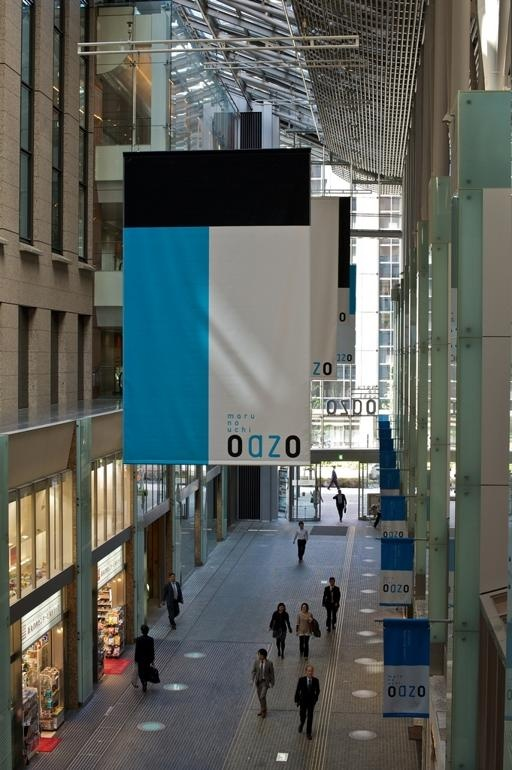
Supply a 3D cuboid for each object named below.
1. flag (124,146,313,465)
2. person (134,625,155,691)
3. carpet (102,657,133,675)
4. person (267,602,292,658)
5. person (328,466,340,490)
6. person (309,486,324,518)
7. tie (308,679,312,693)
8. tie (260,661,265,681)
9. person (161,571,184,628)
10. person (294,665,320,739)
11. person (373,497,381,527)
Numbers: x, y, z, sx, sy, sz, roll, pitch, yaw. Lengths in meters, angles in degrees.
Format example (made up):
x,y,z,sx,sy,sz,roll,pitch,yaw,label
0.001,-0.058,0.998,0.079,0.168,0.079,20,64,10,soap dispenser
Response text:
x,y,z,sx,sy,sz,roll,pitch,yaw,label
-0.188,-0.421,4.102,0.882,2.574,0.200,1,1,3,flag
-1.853,4.452,12.602,0.284,1.101,0.917,-2,-6,-10,person
-2.538,5.091,14.016,0.500,0.171,1.000,-7,-8,-12,carpet
0.448,4.484,14.145,0.257,1.134,0.288,0,13,-1,person
3.330,3.988,33.232,0.482,0.889,1.684,-5,-7,5,person
2.371,4.626,30.475,0.347,1.373,0.726,-3,-5,2,person
0.740,4.132,10.640,0.036,0.131,0.099,-1,-7,-21,tie
0.089,4.136,11.146,0.055,0.265,0.114,-3,-5,1,tie
-1.788,4.551,16.370,0.367,1.185,1.575,-3,-7,-7,person
0.715,4.433,11.006,0.311,1.029,1.240,-3,-6,2,person
4.483,4.847,28.704,0.260,0.895,0.972,-4,-6,6,person
